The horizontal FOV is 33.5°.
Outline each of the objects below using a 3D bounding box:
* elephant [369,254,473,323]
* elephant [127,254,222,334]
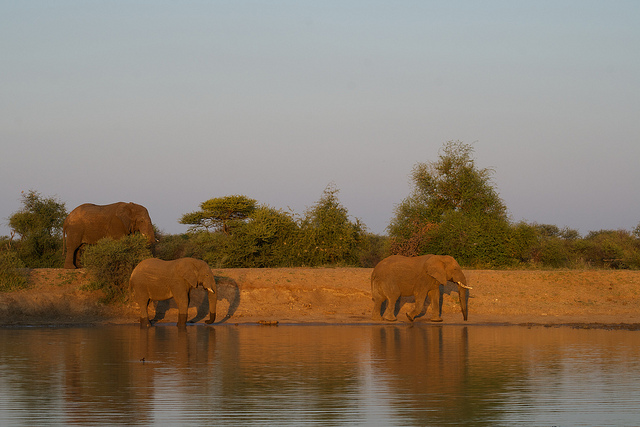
[{"bbox_3d":[4.291,3.163,45.954,4.067,3.097,2.156,1,4,-2],"label":"elephant"},{"bbox_3d":[-6.254,3.303,45.240,3.746,3.141,1.652,2,2,-6],"label":"elephant"}]
